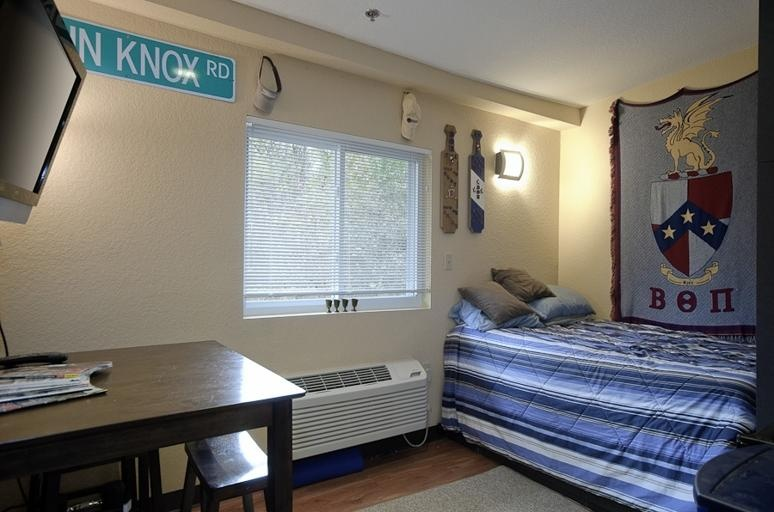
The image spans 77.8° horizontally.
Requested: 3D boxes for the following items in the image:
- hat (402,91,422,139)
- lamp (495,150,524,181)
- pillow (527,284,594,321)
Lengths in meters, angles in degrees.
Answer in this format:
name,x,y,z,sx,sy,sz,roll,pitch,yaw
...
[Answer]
name,x,y,z,sx,sy,sz,roll,pitch,yaw
hat,0.188,-1.117,3.845,0.142,0.389,0.084,1,8,8
lamp,1.101,-0.814,4.343,0.304,0.269,0.155,0,2,-29
pillow,1.530,0.426,4.145,0.358,0.120,0.417,-2,6,-7
